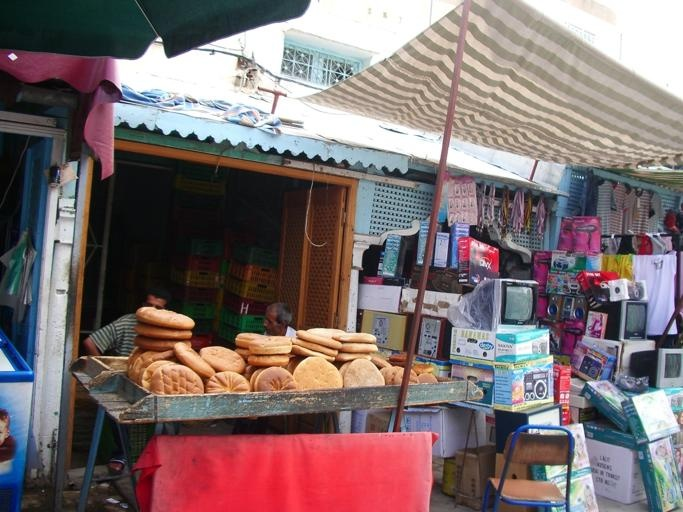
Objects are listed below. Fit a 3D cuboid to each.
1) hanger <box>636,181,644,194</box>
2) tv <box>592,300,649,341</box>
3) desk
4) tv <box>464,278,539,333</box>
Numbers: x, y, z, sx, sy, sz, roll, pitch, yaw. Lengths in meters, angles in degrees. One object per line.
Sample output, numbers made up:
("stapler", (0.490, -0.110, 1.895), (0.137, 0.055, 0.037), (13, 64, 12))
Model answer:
("hanger", (5.075, -1.130, 10.364), (0.096, 0.153, 0.034), (1, 4, -31))
("tv", (3.501, 0.801, 7.675), (0.505, 0.433, 0.542), (4, -8, -23))
("desk", (-0.605, 1.451, 4.535), (2.904, 1.153, 1.186), (5, -3, -12))
("tv", (1.775, 0.526, 6.795), (0.563, 0.482, 0.593), (4, -5, -39))
